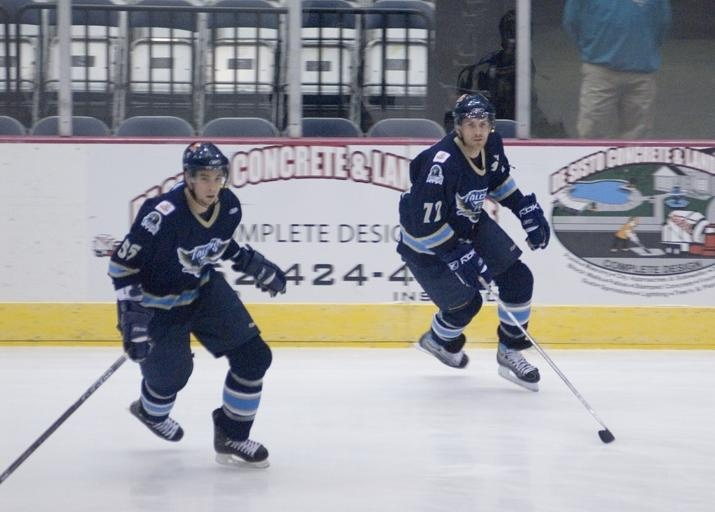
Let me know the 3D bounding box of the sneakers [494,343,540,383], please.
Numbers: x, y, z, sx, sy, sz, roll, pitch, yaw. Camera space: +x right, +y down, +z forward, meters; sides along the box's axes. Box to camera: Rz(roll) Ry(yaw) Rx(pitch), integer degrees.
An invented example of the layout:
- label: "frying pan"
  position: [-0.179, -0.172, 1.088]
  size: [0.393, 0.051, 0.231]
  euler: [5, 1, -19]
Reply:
- label: "sneakers"
  position: [1.047, 0.685, 7.406]
  size: [0.143, 0.164, 0.400]
  euler: [-26, 22, -19]

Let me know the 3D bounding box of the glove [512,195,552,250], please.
- label: "glove"
  position: [1.129, -0.228, 7.381]
  size: [0.162, 0.328, 0.261]
  euler: [-15, 34, 5]

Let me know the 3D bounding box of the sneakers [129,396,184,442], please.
- label: "sneakers"
  position: [-1.168, 0.940, 6.625]
  size: [0.331, 0.129, 0.106]
  euler: [32, 48, 4]

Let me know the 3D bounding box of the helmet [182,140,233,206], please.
- label: "helmet"
  position: [-0.830, -0.450, 6.212]
  size: [0.307, 0.342, 0.359]
  euler: [-3, 7, -20]

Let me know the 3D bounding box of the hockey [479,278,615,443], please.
- label: "hockey"
  position: [1.212, 0.700, 7.445]
  size: [0.062, 0.154, 1.450]
  euler: [-42, 56, -5]

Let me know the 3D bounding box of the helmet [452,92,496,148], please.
- label: "helmet"
  position: [0.718, -0.833, 7.087]
  size: [0.237, 0.330, 0.201]
  euler: [1, 13, 3]

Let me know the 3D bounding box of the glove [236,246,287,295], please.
- label: "glove"
  position: [-0.508, 0.085, 6.606]
  size: [0.365, 0.199, 0.089]
  euler: [35, 26, -9]

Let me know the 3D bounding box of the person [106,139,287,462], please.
- label: "person"
  position: [-0.895, 0.254, 6.382]
  size: [0.926, 1.767, 0.506]
  euler: [0, 14, -3]
